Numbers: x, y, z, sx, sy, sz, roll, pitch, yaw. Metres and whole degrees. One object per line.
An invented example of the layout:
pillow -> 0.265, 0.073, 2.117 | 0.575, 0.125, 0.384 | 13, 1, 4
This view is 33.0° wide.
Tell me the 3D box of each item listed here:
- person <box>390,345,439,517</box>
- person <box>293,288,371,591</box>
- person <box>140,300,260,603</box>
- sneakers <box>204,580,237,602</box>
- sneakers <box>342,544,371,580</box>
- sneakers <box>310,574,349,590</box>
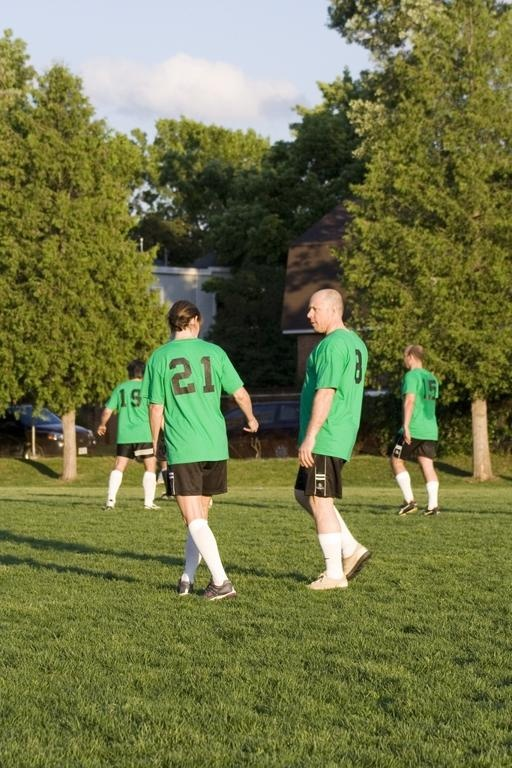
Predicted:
person -> 1.839, 0.508, 9.962 | 0.551, 1.949, 0.720 | 2, -3, 11
person -> 0.507, 0.309, 5.478 | 0.488, 1.915, 0.578 | 2, -3, 3
person -> -0.314, 0.402, 5.340 | 0.743, 1.776, 0.640 | 1, -6, -9
sneakers -> -0.209, 1.204, 4.996 | 0.220, 0.100, 0.080 | -6, 1, 24
sneakers -> 0.640, 1.144, 5.570 | 0.121, 0.296, 0.107 | 23, 28, -3
sneakers -> 0.449, 1.215, 5.311 | 0.247, 0.086, 0.086 | 2, -8, -4
